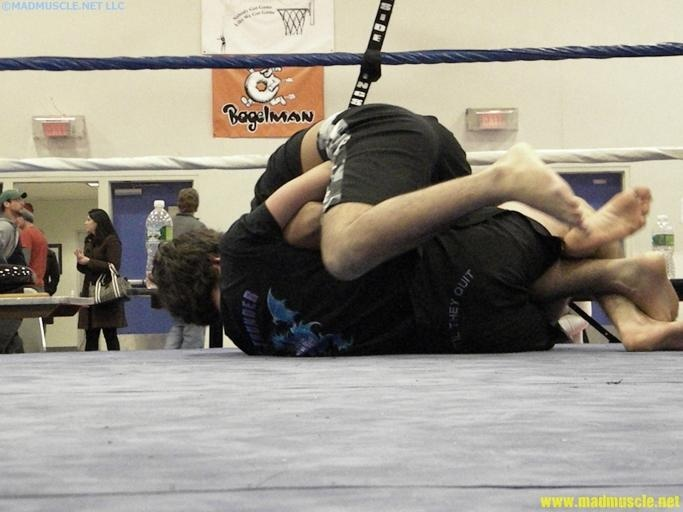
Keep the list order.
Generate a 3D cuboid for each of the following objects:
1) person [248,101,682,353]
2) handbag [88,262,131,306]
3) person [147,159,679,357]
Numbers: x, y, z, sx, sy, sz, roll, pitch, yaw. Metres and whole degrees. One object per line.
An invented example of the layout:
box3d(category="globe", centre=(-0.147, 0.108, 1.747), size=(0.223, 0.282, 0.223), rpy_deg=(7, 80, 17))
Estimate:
box3d(category="person", centre=(0.241, -0.084, 2.024), size=(0.922, 0.485, 0.573), rpy_deg=(-6, -14, 27))
box3d(category="handbag", centre=(-1.201, 0.138, 4.421), size=(0.220, 0.179, 0.075), rpy_deg=(-17, 3, 16))
box3d(category="person", centre=(0.113, 0.059, 2.133), size=(1.307, 0.495, 0.470), rpy_deg=(-14, -18, 20))
